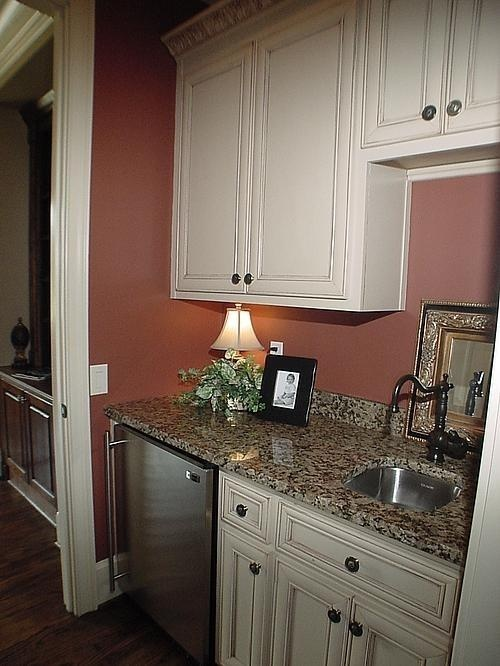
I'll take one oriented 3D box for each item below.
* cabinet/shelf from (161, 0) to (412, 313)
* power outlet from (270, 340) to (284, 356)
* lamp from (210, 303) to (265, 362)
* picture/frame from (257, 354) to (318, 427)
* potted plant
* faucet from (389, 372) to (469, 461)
[{"bbox_3d":[0.081,-0.583,1.871,0.919,0.949,0.273,8,10,42],"label":"cabinet/shelf"},{"bbox_3d":[0.112,0.061,2.252,0.021,0.055,0.093,-3,8,-29],"label":"power outlet"},{"bbox_3d":[-0.062,-0.017,2.272,0.231,0.230,0.233,4,10,21],"label":"lamp"},{"bbox_3d":[0.139,0.227,1.975,0.248,0.291,0.029,3,-10,39],"label":"picture/frame"},{"bbox_3d":[-0.107,0.200,2.126,0.421,0.248,0.252,7,9,40],"label":"potted plant"},{"bbox_3d":[0.552,0.260,1.592,0.249,0.263,0.137,2,7,6],"label":"faucet"}]
